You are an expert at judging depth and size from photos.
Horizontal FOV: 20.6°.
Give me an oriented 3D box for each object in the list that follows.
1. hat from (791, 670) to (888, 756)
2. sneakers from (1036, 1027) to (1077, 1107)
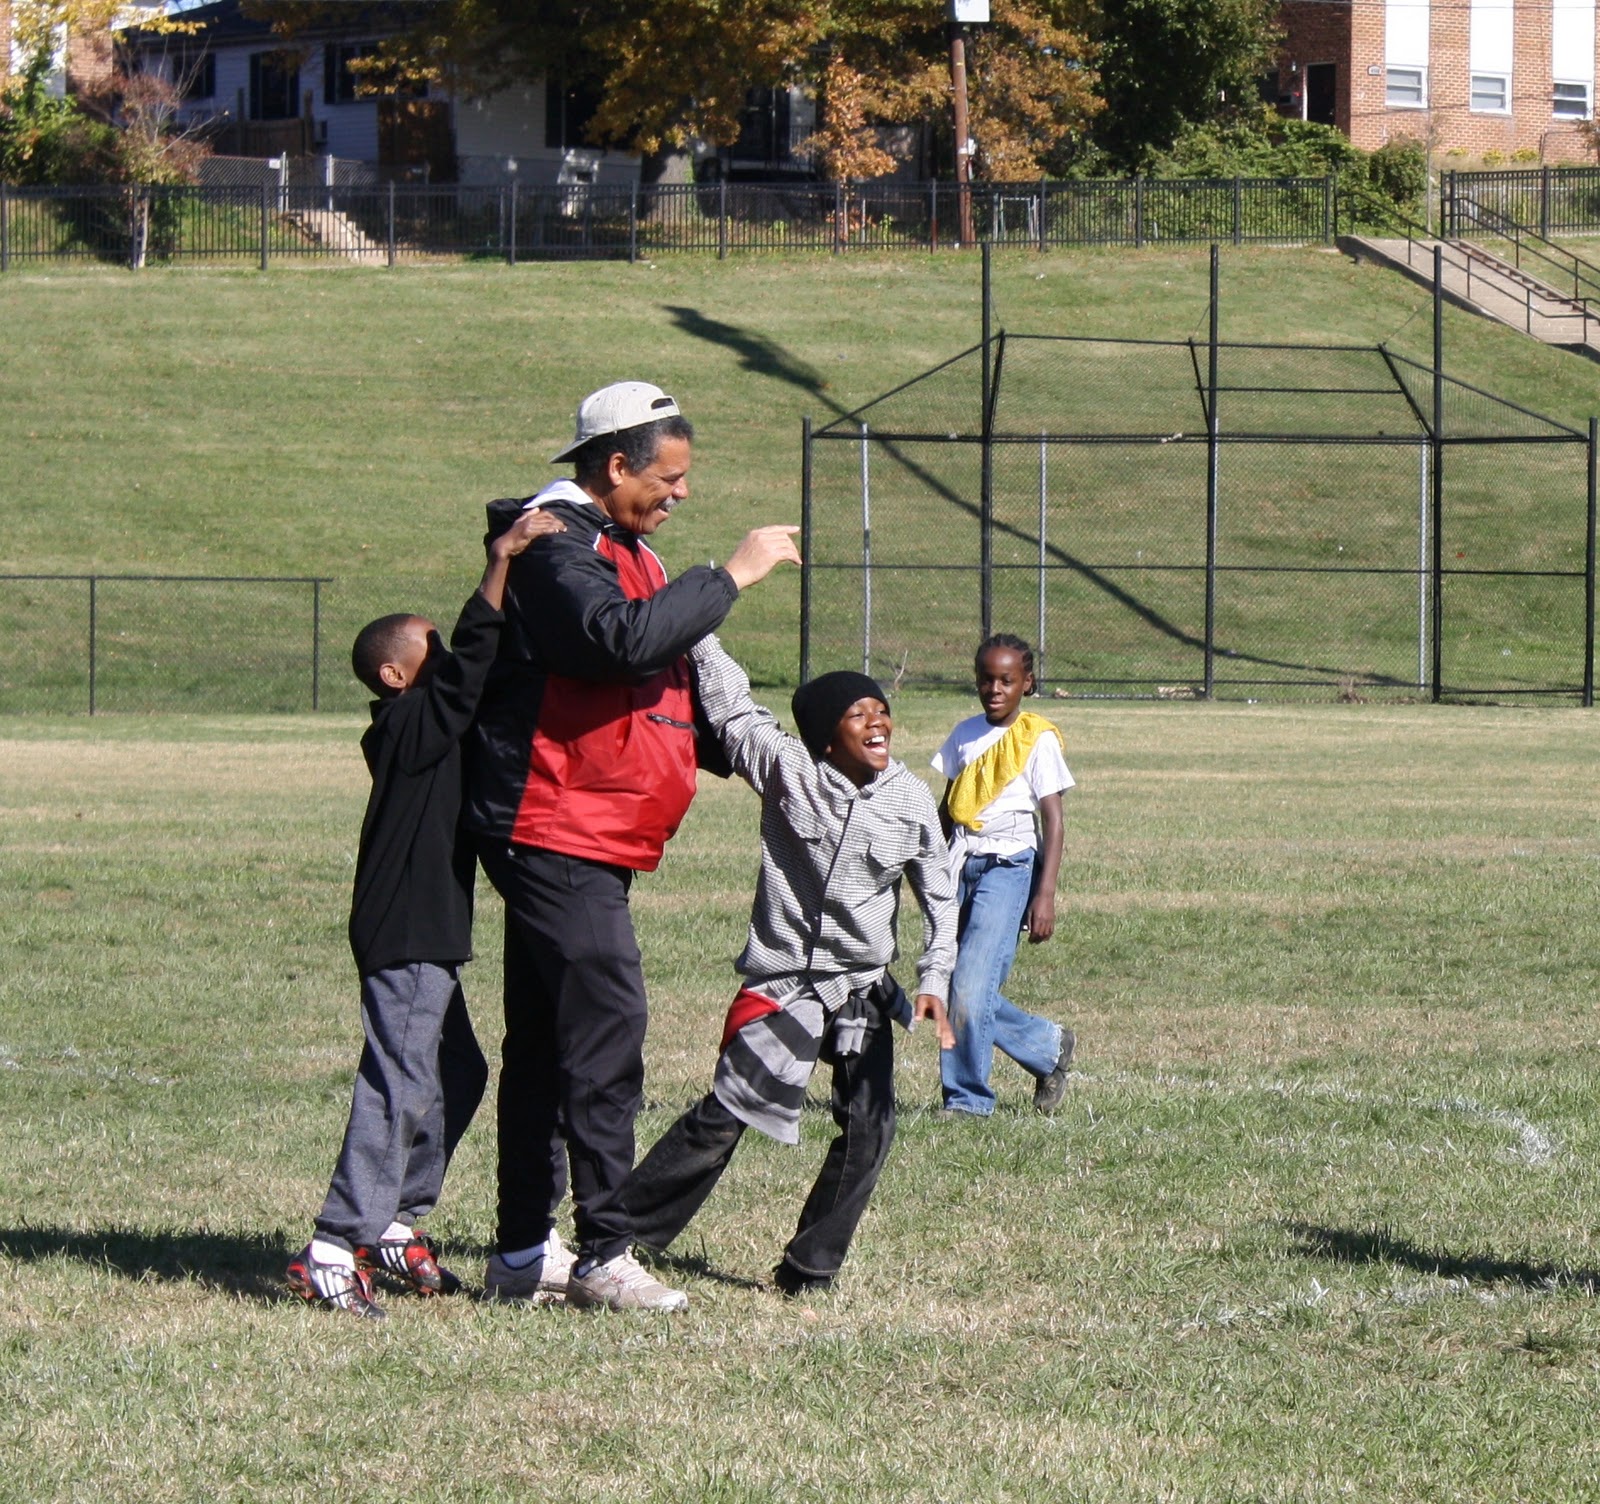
[{"bbox_3d":[0.278,-0.337,31.878,0.629,0.573,0.500,-15,2,10],"label":"hat"},{"bbox_3d":[2.000,2.437,34.039,0.195,0.699,0.272,2,-9,28],"label":"sneakers"}]
